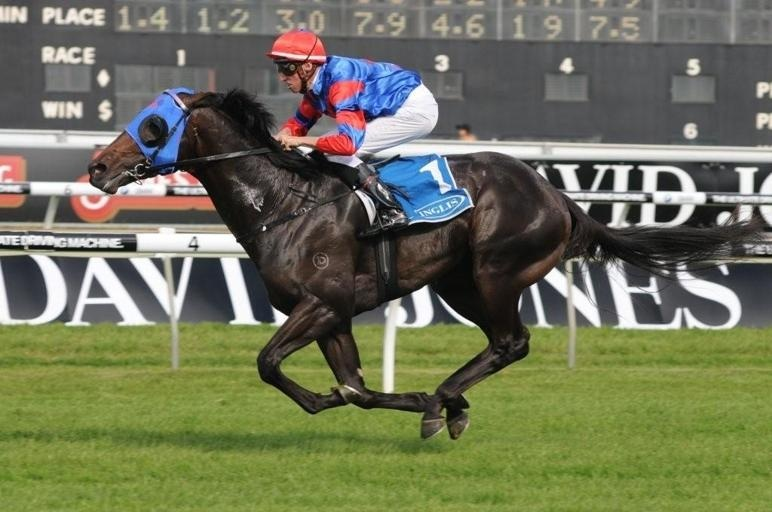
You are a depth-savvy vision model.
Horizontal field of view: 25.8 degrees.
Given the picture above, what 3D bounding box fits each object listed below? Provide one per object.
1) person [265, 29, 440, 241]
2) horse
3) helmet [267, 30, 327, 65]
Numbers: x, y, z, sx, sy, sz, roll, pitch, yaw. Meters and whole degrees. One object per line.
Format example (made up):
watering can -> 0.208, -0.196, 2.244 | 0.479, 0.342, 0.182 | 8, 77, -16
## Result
person -> -0.147, -0.727, 9.468 | 0.995, 1.003, 0.617 | -7, 11, -7
horse -> 0.256, -0.044, 9.681 | 4.022, 1.605, 0.785 | 0, -4, -23
helmet -> -0.505, -1.170, 9.331 | 0.376, 0.143, 0.226 | 1, 19, -18
